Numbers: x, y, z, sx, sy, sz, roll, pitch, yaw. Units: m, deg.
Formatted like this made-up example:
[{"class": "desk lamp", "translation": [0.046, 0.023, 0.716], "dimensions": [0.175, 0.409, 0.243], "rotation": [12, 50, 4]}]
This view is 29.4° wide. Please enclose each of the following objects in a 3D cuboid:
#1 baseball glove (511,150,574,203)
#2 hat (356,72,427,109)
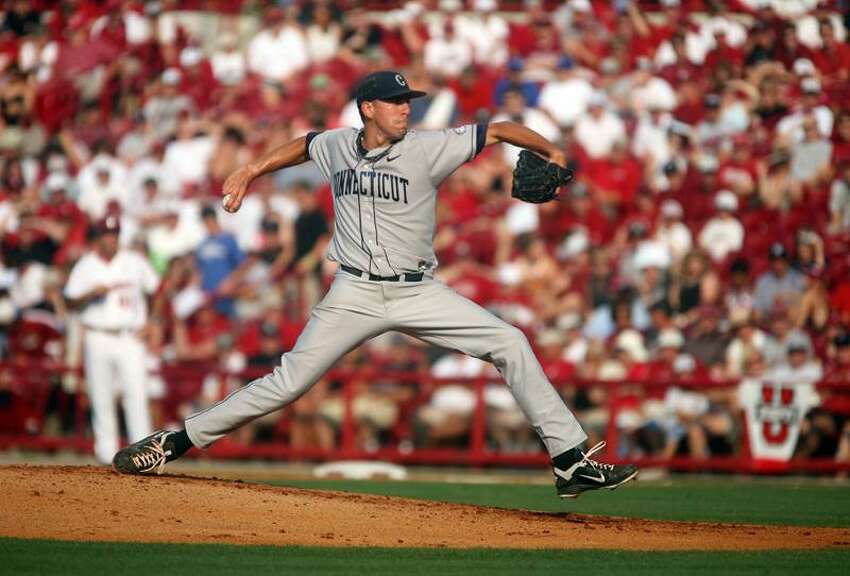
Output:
[{"class": "baseball glove", "translation": [1.066, -1.010, 14.826], "dimensions": [0.552, 0.480, 0.338], "rotation": [7, 1, 15]}, {"class": "hat", "translation": [-0.340, -1.795, 14.746], "dimensions": [0.489, 0.239, 0.327], "rotation": [-12, 1, 16]}]
